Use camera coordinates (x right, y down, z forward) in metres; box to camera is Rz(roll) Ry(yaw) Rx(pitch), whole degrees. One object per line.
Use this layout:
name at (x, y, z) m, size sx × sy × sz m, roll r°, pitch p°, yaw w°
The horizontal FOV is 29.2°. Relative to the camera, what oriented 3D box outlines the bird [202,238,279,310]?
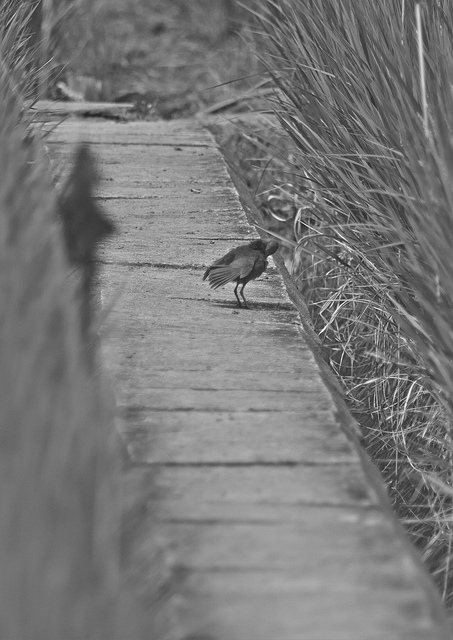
bird at (0.020, -0.076, 1.396) m, size 0.066 × 0.103 × 0.157 m, roll 11°, pitch 9°, yaw 43°
